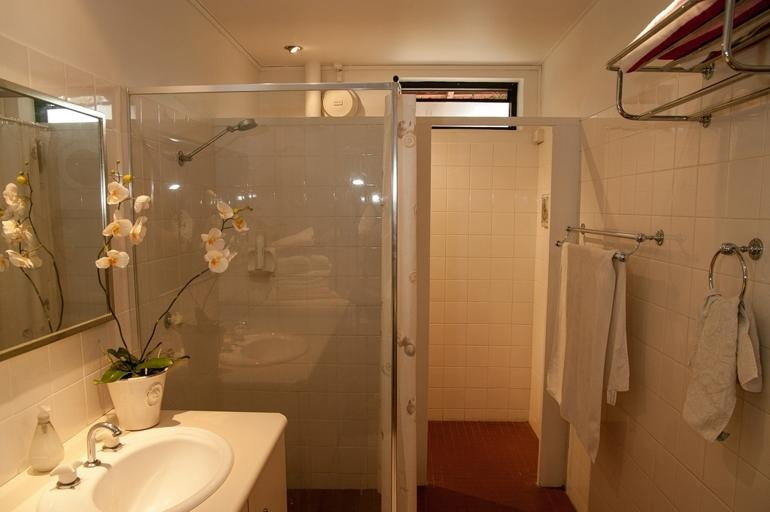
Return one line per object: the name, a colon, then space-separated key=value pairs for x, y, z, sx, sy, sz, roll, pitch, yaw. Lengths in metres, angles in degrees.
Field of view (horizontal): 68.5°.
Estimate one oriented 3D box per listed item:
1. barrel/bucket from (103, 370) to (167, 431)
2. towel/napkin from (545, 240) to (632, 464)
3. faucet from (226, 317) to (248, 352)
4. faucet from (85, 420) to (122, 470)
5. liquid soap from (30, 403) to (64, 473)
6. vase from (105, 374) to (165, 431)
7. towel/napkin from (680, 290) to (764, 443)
barrel/bucket: x=-1.082 y=0.627 z=2.488 sx=0.289 sy=0.228 sz=0.272 roll=-2 pitch=0 yaw=0
towel/napkin: x=1.061 y=0.468 z=2.926 sx=0.206 sy=1.049 sz=0.647 roll=0 pitch=10 yaw=-5
faucet: x=-0.704 y=0.373 z=2.704 sx=0.092 sy=0.153 sz=0.036 roll=10 pitch=2 yaw=10
faucet: x=-1.101 y=0.727 z=2.206 sx=0.093 sy=0.145 sz=0.119 roll=4 pitch=10 yaw=16
liquid soap: x=-1.326 y=0.703 z=2.191 sx=0.154 sy=0.261 sz=0.085 roll=6 pitch=11 yaw=26
vase: x=-1.079 y=0.636 z=2.479 sx=0.259 sy=0.217 sz=0.281 roll=-3 pitch=-6 yaw=21
towel/napkin: x=1.274 y=0.428 z=2.185 sx=0.152 sy=0.545 sz=0.242 roll=0 pitch=10 yaw=-6
